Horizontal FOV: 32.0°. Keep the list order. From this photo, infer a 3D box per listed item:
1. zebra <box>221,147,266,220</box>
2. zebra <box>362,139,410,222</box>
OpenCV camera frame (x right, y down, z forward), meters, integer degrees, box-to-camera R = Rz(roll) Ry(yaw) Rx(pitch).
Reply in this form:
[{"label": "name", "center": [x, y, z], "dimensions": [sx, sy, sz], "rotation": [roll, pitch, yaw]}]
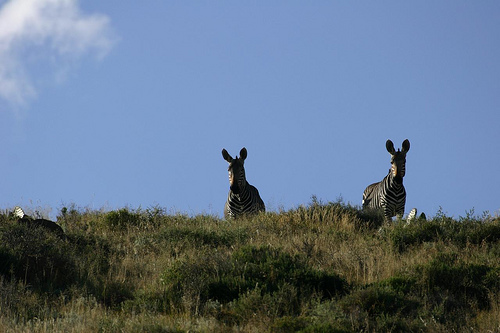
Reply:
[{"label": "zebra", "center": [-0.261, 0.929, 30.909], "dimensions": [1.299, 2.681, 3.328], "rotation": [-1, -25, 7]}, {"label": "zebra", "center": [5.009, 1.105, 32.017], "dimensions": [0.891, 3.025, 3.794], "rotation": [-2, -14, -10]}]
